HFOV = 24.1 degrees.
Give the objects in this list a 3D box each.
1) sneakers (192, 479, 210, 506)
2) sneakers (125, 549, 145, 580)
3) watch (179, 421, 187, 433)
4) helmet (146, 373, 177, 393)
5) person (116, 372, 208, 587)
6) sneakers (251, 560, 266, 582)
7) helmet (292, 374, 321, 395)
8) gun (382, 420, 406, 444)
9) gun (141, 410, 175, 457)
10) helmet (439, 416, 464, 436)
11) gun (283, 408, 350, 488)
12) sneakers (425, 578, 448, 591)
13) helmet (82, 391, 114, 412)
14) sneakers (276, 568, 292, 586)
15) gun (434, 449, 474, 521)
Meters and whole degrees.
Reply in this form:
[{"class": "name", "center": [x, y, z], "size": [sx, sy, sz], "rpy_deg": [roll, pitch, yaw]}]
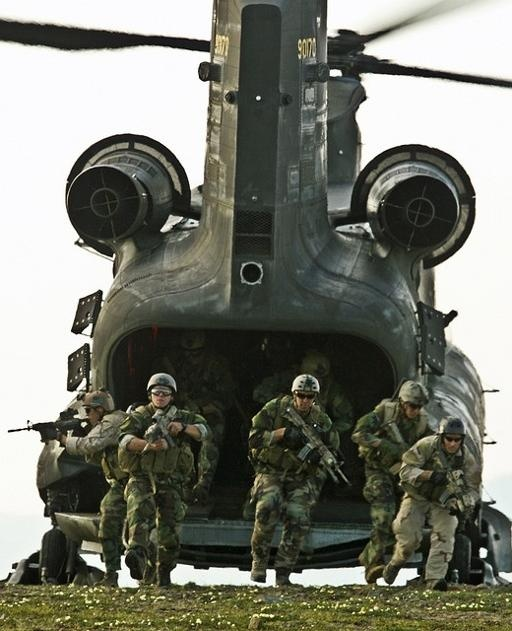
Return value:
[{"class": "sneakers", "center": [-0.561, 1.812, 12.224], "size": [0.206, 0.244, 0.089], "rpy_deg": [4, -1, 5]}, {"class": "sneakers", "center": [-1.009, 2.096, 10.093], "size": [0.152, 0.229, 0.275], "rpy_deg": [2, -18, 3]}, {"class": "watch", "center": [-0.639, 0.973, 10.488], "size": [0.053, 0.069, 0.066], "rpy_deg": [3, -15, -19]}, {"class": "helmet", "center": [-0.829, 0.597, 10.641], "size": [0.217, 0.123, 0.220], "rpy_deg": [3, -8, -6]}, {"class": "person", "center": [-0.833, 1.419, 10.514], "size": [0.775, 1.894, 0.801], "rpy_deg": [4, -19, -2]}, {"class": "sneakers", "center": [0.022, 2.232, 10.403], "size": [0.128, 0.195, 0.301], "rpy_deg": [3, -17, 0]}, {"class": "helmet", "center": [0.456, 0.617, 10.800], "size": [0.180, 0.162, 0.218], "rpy_deg": [2, -9, -4]}, {"class": "gun", "center": [1.303, 1.109, 11.322], "size": [0.123, 0.310, 0.082], "rpy_deg": [-21, -37, -19]}, {"class": "gun", "center": [-0.833, 0.980, 10.380], "size": [0.249, 0.428, 0.253], "rpy_deg": [4, -19, -3]}, {"class": "helmet", "center": [1.697, 0.968, 10.405], "size": [0.157, 0.161, 0.189], "rpy_deg": [3, -9, -1]}, {"class": "gun", "center": [0.512, 1.141, 10.710], "size": [0.508, 0.705, 0.351], "rpy_deg": [2, -19, 1]}, {"class": "sneakers", "center": [1.543, 2.308, 10.253], "size": [0.171, 0.068, 0.155], "rpy_deg": [9, 9, -4]}, {"class": "helmet", "center": [-1.528, 0.829, 11.586], "size": [0.263, 0.192, 0.193], "rpy_deg": [-3, 6, -4]}, {"class": "sneakers", "center": [0.233, 2.244, 10.227], "size": [0.128, 0.170, 0.301], "rpy_deg": [2, -17, 2]}, {"class": "gun", "center": [1.774, 1.481, 10.522], "size": [0.312, 0.622, 0.463], "rpy_deg": [-4, -20, 19]}]
